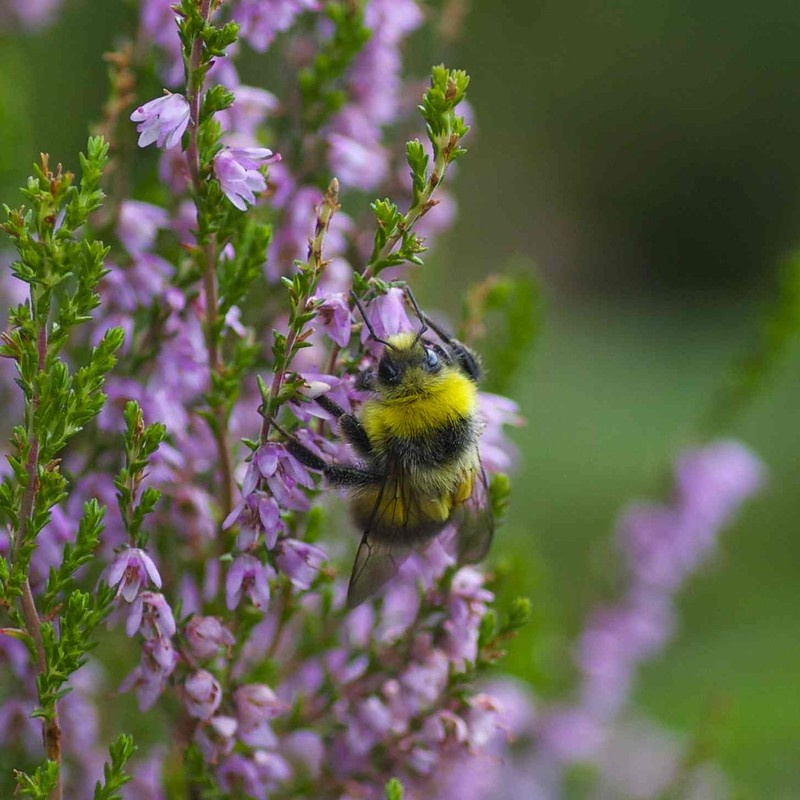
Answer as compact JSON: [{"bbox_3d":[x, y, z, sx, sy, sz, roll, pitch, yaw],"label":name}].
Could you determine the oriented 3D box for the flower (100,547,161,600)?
[{"bbox_3d":[-0.378,0.245,1.667,0.056,0.091,0.023,-13,-3,-28],"label":"flower"}]

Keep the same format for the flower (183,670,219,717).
[{"bbox_3d":[-0.292,0.432,1.731,0.054,0.057,0.029,15,4,-10],"label":"flower"}]

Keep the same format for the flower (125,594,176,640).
[{"bbox_3d":[-0.350,0.308,1.674,0.071,0.054,0.063,16,5,-11],"label":"flower"}]

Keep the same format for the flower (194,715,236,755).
[{"bbox_3d":[-0.276,0.500,1.773,0.061,0.043,0.049,17,5,-8],"label":"flower"}]
